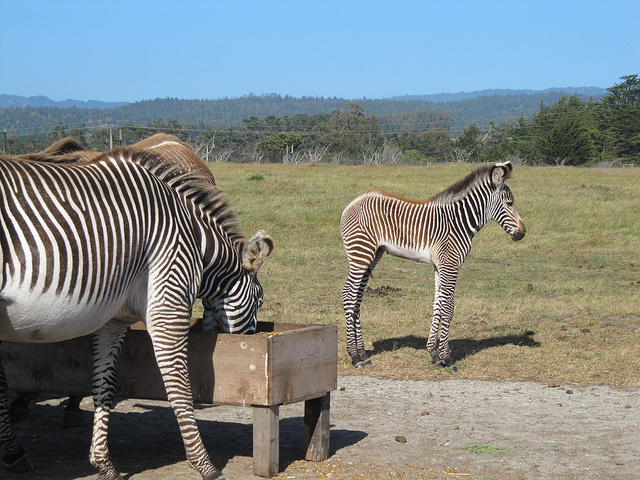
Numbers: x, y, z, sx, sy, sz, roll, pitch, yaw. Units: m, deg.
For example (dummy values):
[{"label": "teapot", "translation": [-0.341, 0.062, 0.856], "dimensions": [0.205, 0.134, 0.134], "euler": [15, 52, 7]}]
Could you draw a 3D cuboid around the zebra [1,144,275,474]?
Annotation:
[{"label": "zebra", "translation": [-2.006, 0.761, 10.461], "dimensions": [2.633, 3.453, 1.589], "euler": [-3, 10, -23]}]

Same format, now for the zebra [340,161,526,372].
[{"label": "zebra", "translation": [1.595, 0.315, 14.816], "dimensions": [2.512, 2.981, 1.096], "euler": [1, 9, 0]}]
